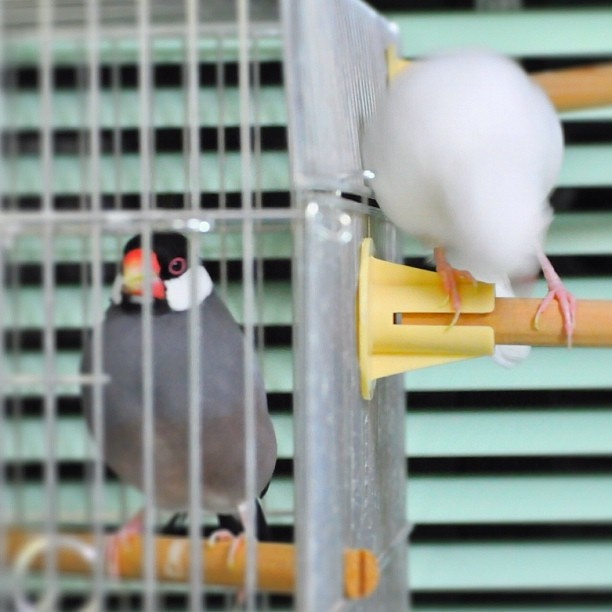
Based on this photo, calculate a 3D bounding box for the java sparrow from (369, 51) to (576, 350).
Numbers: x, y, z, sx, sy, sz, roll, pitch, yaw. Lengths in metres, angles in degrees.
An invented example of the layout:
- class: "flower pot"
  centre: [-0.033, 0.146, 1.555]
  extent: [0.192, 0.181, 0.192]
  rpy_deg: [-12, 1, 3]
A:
- class: "java sparrow"
  centre: [0.183, -0.128, 1.627]
  extent: [0.179, 0.250, 0.335]
  rpy_deg: [-10, 22, 11]

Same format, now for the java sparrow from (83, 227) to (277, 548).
- class: "java sparrow"
  centre: [-0.139, 0.094, 1.610]
  extent: [0.203, 0.218, 0.301]
  rpy_deg: [-5, 66, -9]
